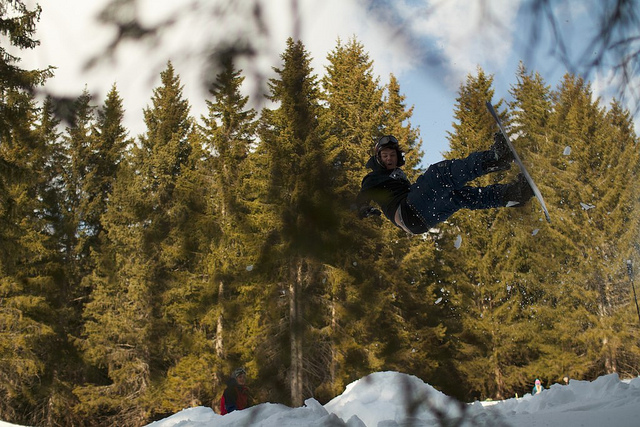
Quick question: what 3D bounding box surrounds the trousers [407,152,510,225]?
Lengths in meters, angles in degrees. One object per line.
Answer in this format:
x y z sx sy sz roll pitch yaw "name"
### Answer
5.307 -1.365 39.088 3.461 2.392 1.510 -17 24 9 "trousers"
